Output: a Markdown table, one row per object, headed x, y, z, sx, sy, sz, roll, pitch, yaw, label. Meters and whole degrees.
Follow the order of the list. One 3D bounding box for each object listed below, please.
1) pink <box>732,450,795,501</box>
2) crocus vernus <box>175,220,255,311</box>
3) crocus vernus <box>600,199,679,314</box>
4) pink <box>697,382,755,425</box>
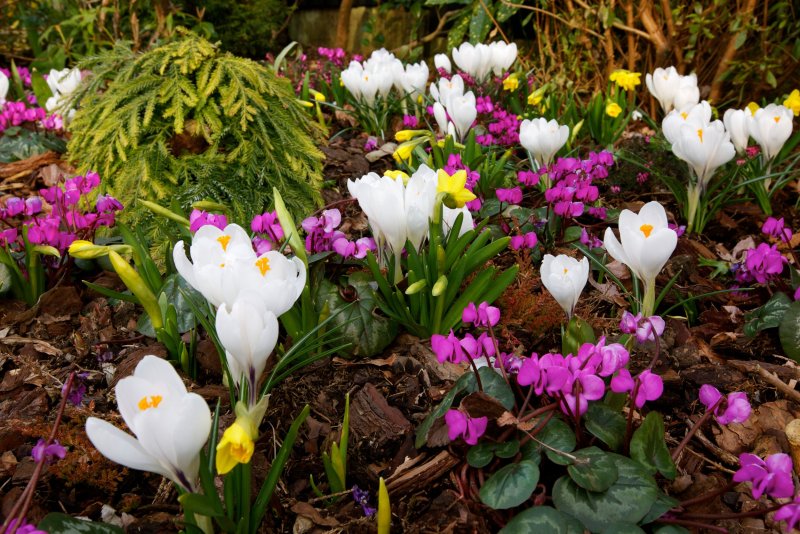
| x | y | z | sx | sy | sz | roll | pitch | yaw | label |
| --- | --- | --- | --- | --- | --- | --- | --- | --- | --- |
| 1.216 | 0.676 | 2.163 | 0.213 | 0.181 | 0.169 | -4 | 5 | -39 | pink |
| -0.664 | -0.015 | 2.387 | 0.314 | 0.198 | 0.267 | 26 | 45 | 26 | crocus vernus |
| 1.051 | 0.005 | 2.649 | 0.267 | 0.537 | 0.317 | -16 | 19 | -13 | crocus vernus |
| 1.176 | 0.479 | 2.287 | 0.156 | 0.163 | 0.079 | -3 | -7 | -3 | pink |
